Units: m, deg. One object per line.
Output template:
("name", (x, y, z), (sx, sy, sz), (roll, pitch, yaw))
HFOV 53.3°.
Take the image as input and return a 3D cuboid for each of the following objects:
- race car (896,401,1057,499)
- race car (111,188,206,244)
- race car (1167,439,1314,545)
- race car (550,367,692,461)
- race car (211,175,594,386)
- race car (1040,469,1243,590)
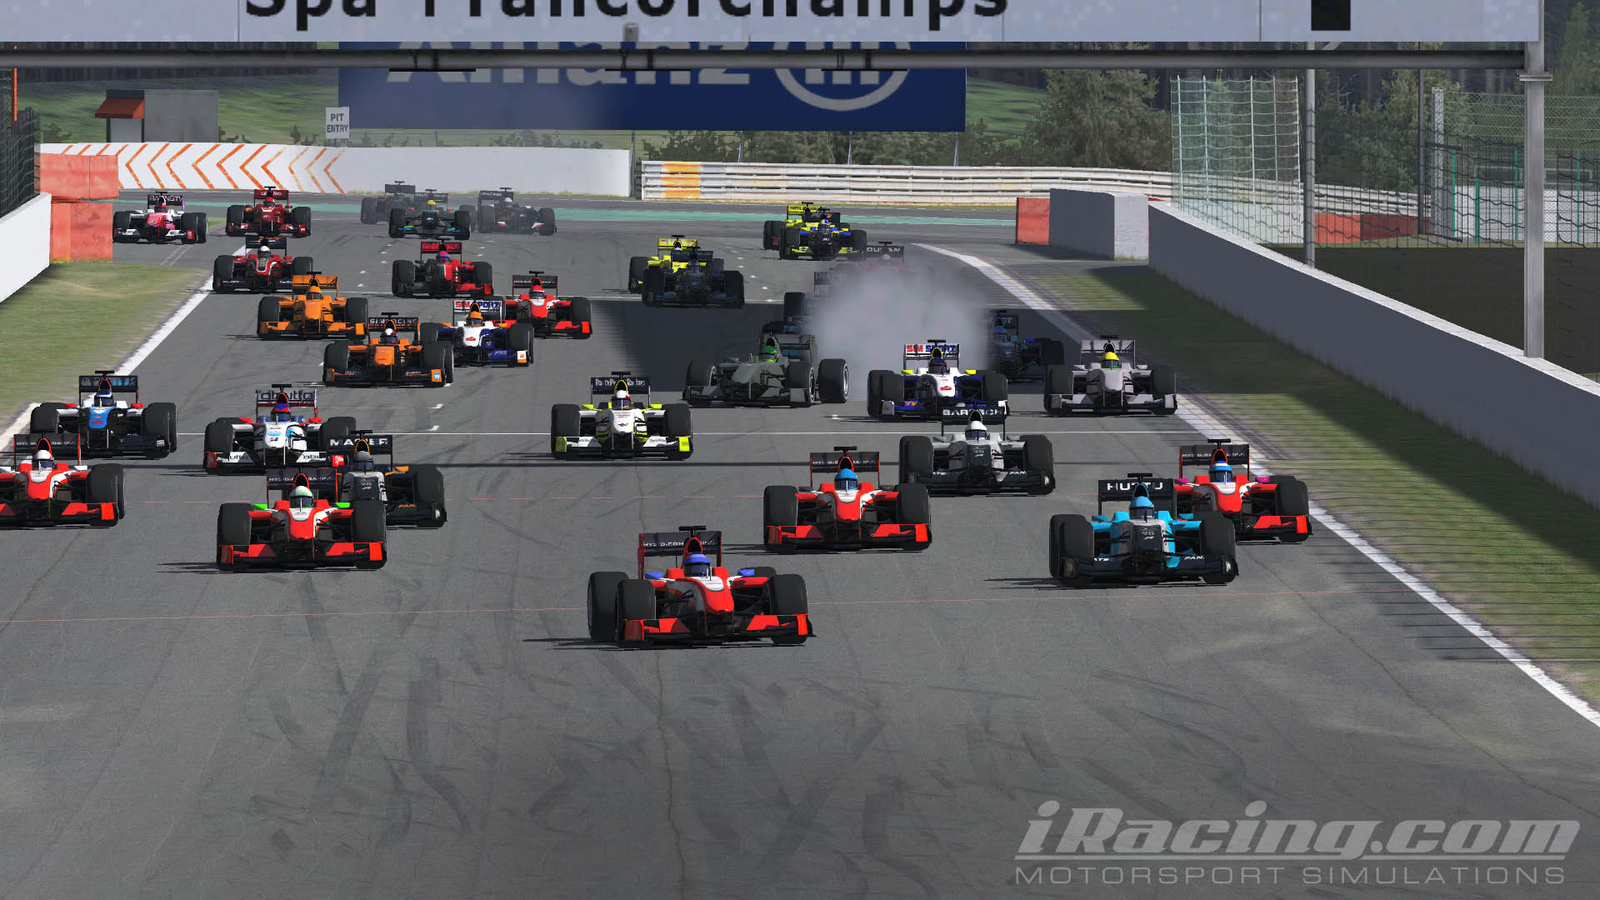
("race car", (3.369, -0.068, 30.995), (2.829, 1.411, 4.616), (-1, 3, 2))
("race car", (-24.438, -8.753, 60.257), (3.113, 1.837, 2.598), (-9, 17, -17))
("race car", (7.478, 0.678, 28.307), (2.420, 1.499, 4.928), (-1, 3, 10))
("race car", (-3.848, -0.803, 33.270), (2.690, 1.541, 4.467), (1, 4, -8))
("race car", (-11.290, -3.811, 43.725), (7.653, 3.690, 12.804), (1, 7, -11))
("race car", (5.559, 1.312, 25.924), (2.846, 1.279, 4.445), (-2, 1, 13))
